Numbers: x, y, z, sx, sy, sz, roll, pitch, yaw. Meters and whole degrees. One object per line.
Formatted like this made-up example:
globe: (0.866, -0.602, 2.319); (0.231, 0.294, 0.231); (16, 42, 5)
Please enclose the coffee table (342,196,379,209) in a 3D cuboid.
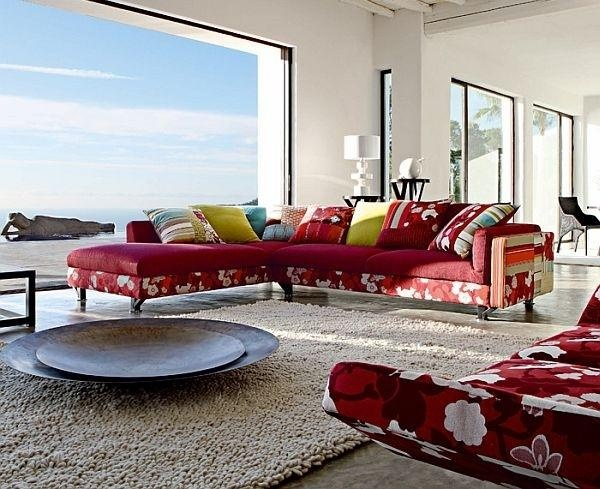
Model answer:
coffee table: (0.858, -0.648, 6.548); (0.440, 0.212, 0.407); (0, 2, 29)
